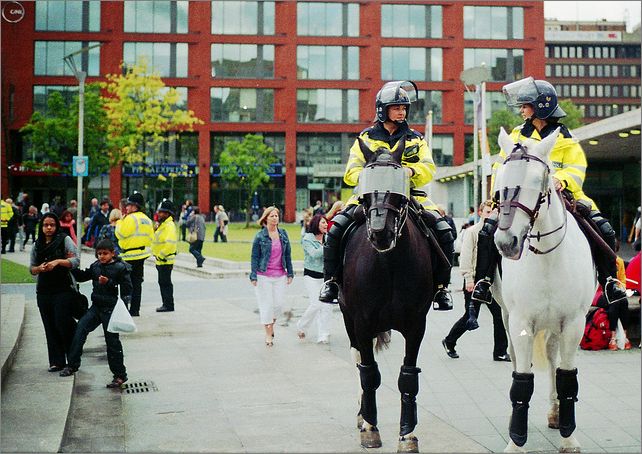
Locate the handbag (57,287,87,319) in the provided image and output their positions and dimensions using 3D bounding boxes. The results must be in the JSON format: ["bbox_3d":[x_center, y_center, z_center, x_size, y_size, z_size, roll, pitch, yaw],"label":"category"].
[{"bbox_3d":[-12.013,3.675,54.639,1.047,1.350,1.425,-3,-18,-7],"label":"handbag"}]
